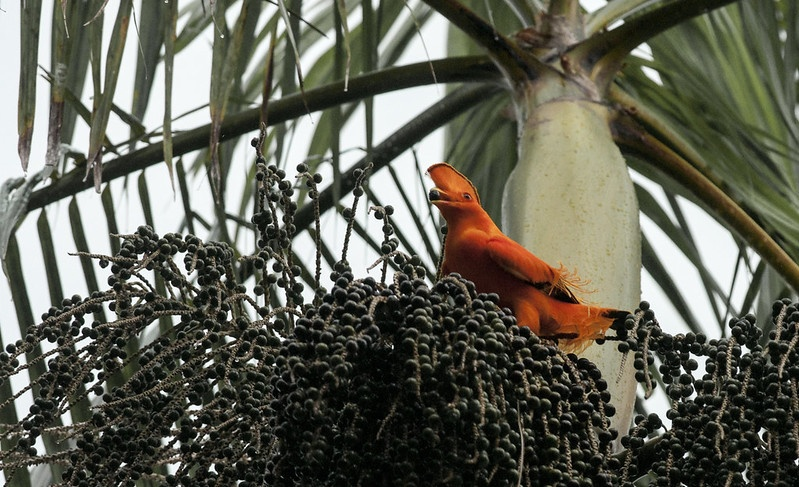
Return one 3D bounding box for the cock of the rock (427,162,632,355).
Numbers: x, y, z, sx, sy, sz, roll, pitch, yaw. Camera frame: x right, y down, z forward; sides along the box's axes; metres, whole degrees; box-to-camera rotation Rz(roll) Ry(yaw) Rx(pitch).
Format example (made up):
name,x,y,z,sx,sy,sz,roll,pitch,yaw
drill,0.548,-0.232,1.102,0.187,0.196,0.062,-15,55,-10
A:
name,x,y,z,sx,sy,sz,roll,pitch,yaw
cock of the rock,0.537,0.109,8.053,0.986,0.691,0.333,13,-24,-25
